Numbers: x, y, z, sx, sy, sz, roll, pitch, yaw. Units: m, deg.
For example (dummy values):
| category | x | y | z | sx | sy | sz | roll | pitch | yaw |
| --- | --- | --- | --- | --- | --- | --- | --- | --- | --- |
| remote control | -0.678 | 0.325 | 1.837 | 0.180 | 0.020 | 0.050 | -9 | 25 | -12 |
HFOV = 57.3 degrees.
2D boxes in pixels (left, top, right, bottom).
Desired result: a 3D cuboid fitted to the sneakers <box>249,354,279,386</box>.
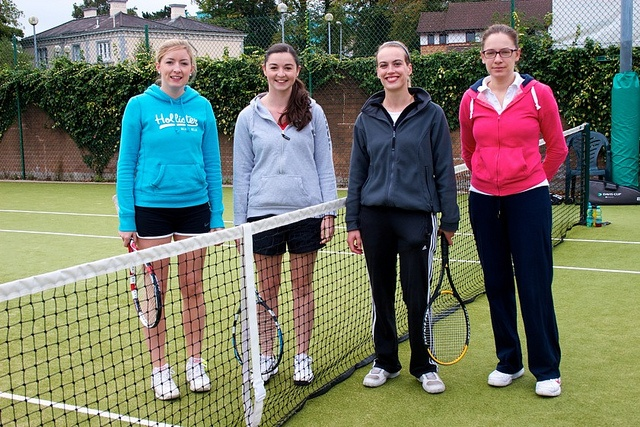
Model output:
| category | x | y | z | sx | sy | sz | roll | pitch | yaw |
| --- | --- | --- | --- | --- | --- | --- | --- | --- | --- |
| sneakers | -0.442 | 1.280 | 4.785 | 0.146 | 0.158 | 0.356 | -2 | -11 | 9 |

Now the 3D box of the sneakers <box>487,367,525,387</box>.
| category | x | y | z | sx | sy | sz | roll | pitch | yaw |
| --- | --- | --- | --- | --- | --- | --- | --- | --- | --- |
| sneakers | 1.541 | 1.348 | 4.842 | 0.329 | 0.152 | 0.110 | 5 | -5 | -37 |

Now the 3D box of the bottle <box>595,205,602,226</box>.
| category | x | y | z | sx | sy | sz | roll | pitch | yaw |
| --- | --- | --- | --- | --- | --- | --- | --- | --- | --- |
| bottle | 4.560 | 0.036 | 9.577 | 0.134 | 0.354 | 0.372 | 5 | 15 | 26 |

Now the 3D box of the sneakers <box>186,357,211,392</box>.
| category | x | y | z | sx | sy | sz | roll | pitch | yaw |
| --- | --- | --- | --- | --- | --- | --- | --- | --- | --- |
| sneakers | -0.972 | 1.310 | 4.711 | 0.153 | 0.177 | 0.363 | 2 | -5 | -29 |

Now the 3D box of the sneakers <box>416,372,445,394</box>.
| category | x | y | z | sx | sy | sz | roll | pitch | yaw |
| --- | --- | --- | --- | --- | --- | --- | --- | --- | --- |
| sneakers | 0.912 | 1.371 | 4.680 | 0.094 | 0.087 | 0.231 | -4 | -5 | -13 |

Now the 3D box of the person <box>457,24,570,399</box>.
| category | x | y | z | sx | sy | sz | roll | pitch | yaw |
| --- | --- | --- | --- | --- | --- | --- | --- | --- | --- |
| person | 1.522 | -0.023 | 4.621 | 0.886 | 2.849 | 0.549 | 4 | 14 | 23 |

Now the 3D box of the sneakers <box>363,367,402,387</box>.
| category | x | y | z | sx | sy | sz | roll | pitch | yaw |
| --- | --- | --- | --- | --- | --- | --- | --- | --- | --- |
| sneakers | 0.532 | 1.364 | 4.886 | 0.326 | 0.148 | 0.117 | 5 | -9 | -43 |

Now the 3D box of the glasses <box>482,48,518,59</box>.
| category | x | y | z | sx | sy | sz | roll | pitch | yaw |
| --- | --- | --- | --- | --- | --- | --- | --- | --- | --- |
| glasses | 1.367 | -1.224 | 4.457 | 0.246 | 0.077 | 0.056 | 3 | 14 | 16 |

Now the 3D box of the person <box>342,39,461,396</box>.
| category | x | y | z | sx | sy | sz | roll | pitch | yaw |
| --- | --- | --- | --- | --- | --- | --- | --- | --- | --- |
| person | 0.649 | 0.052 | 4.652 | 0.881 | 2.740 | 0.474 | 2 | 13 | 12 |

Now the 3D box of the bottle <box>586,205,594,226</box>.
| category | x | y | z | sx | sy | sz | roll | pitch | yaw |
| --- | --- | --- | --- | --- | --- | --- | --- | --- | --- |
| bottle | 4.532 | 0.004 | 9.805 | 0.128 | 0.339 | 0.536 | 5 | 15 | 24 |

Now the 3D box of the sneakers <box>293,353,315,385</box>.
| category | x | y | z | sx | sy | sz | roll | pitch | yaw |
| --- | --- | --- | --- | --- | --- | --- | --- | --- | --- |
| sneakers | -0.130 | 1.292 | 4.862 | 0.201 | 0.240 | 0.131 | -9 | 15 | -29 |

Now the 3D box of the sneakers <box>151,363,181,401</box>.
| category | x | y | z | sx | sy | sz | roll | pitch | yaw |
| --- | --- | --- | --- | --- | --- | --- | --- | --- | --- |
| sneakers | -1.232 | 1.355 | 4.646 | 0.144 | 0.181 | 0.370 | 0 | -1 | -35 |

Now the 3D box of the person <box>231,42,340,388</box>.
| category | x | y | z | sx | sy | sz | roll | pitch | yaw |
| --- | --- | --- | --- | --- | --- | --- | --- | --- | --- |
| person | -0.271 | -0.004 | 4.896 | 0.878 | 2.757 | 0.747 | -4 | 13 | -10 |
